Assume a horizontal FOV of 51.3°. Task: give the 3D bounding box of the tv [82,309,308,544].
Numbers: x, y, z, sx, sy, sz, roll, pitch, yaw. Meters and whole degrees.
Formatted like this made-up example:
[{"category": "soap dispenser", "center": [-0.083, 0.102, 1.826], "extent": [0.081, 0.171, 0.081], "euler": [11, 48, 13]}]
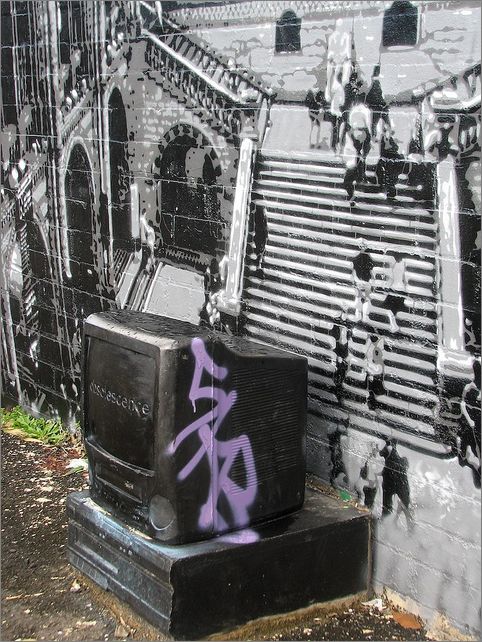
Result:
[{"category": "tv", "center": [-0.278, 0.307, 1.876], "extent": [0.609, 0.693, 0.749], "euler": [-2, 12, -19]}]
